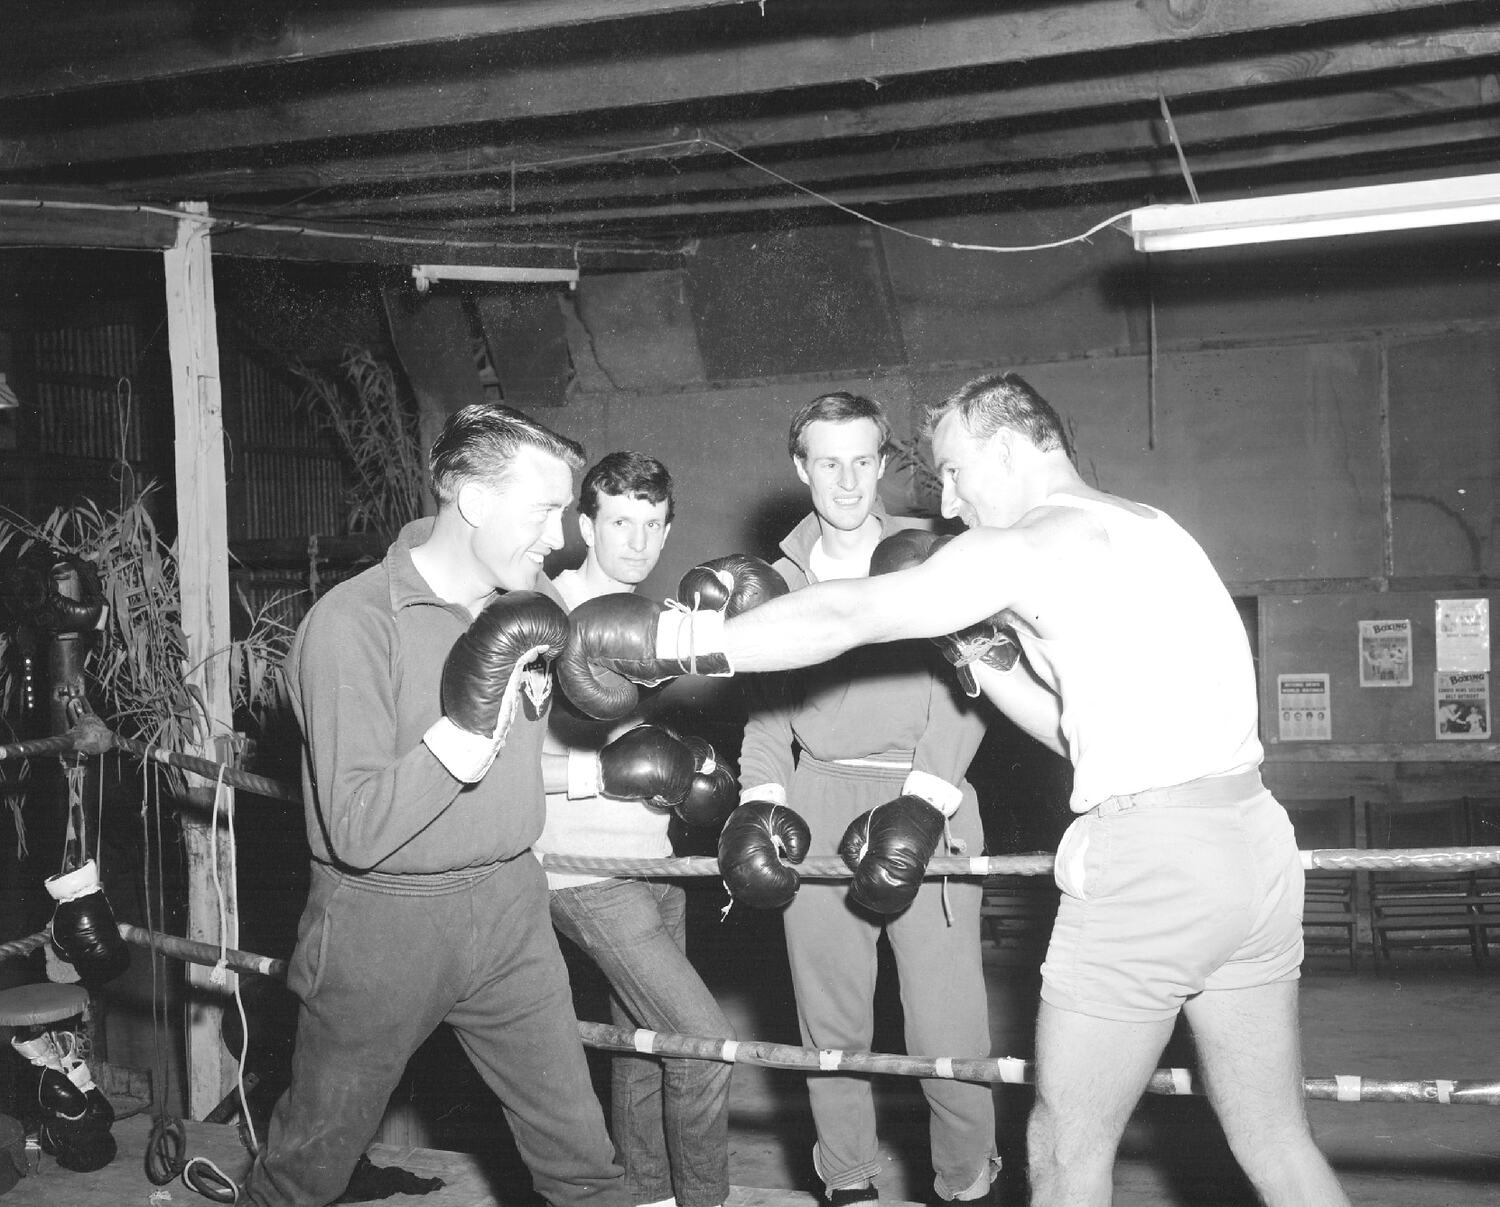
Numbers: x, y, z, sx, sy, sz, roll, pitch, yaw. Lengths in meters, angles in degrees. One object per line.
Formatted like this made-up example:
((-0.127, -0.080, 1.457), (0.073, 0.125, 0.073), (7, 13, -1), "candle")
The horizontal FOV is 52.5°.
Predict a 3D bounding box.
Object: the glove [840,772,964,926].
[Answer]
((0.398, 0.670, 4.150), (0.274, 0.350, 0.155), (23, -16, 3), "glove")

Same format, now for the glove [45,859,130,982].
((-2.012, 0.965, 4.569), (0.218, 0.354, 0.242), (-9, 7, -30), "glove")
